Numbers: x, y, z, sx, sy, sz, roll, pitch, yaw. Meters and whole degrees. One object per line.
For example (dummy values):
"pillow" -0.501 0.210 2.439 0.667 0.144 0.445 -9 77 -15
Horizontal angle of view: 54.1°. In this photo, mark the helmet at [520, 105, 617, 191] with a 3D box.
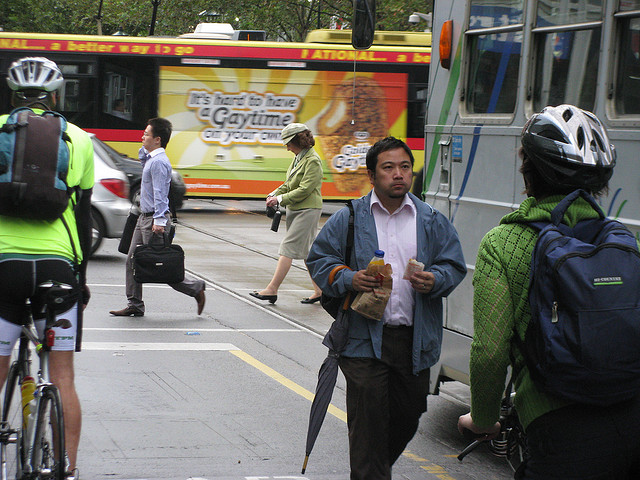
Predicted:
"helmet" 0.882 -0.331 2.323 0.247 0.213 0.336 9 2 -7

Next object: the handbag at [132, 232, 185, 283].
"handbag" -2.015 0.234 7.796 0.611 0.703 0.251 -1 -3 -17

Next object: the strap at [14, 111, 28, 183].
"strap" -1.504 -0.455 3.180 0.034 0.347 0.059 8 -16 -12

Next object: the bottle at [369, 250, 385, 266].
"bottle" 0.297 0.094 3.255 0.068 0.072 0.064 4 7 6

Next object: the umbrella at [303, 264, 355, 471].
"umbrella" 0.040 0.770 3.443 0.212 0.987 0.251 2 7 -9

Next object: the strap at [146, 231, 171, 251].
"strap" -1.983 0.029 7.829 0.309 0.399 0.217 0 5 3

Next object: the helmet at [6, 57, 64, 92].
"helmet" -1.573 -0.920 3.486 0.268 0.202 0.267 0 8 -28
